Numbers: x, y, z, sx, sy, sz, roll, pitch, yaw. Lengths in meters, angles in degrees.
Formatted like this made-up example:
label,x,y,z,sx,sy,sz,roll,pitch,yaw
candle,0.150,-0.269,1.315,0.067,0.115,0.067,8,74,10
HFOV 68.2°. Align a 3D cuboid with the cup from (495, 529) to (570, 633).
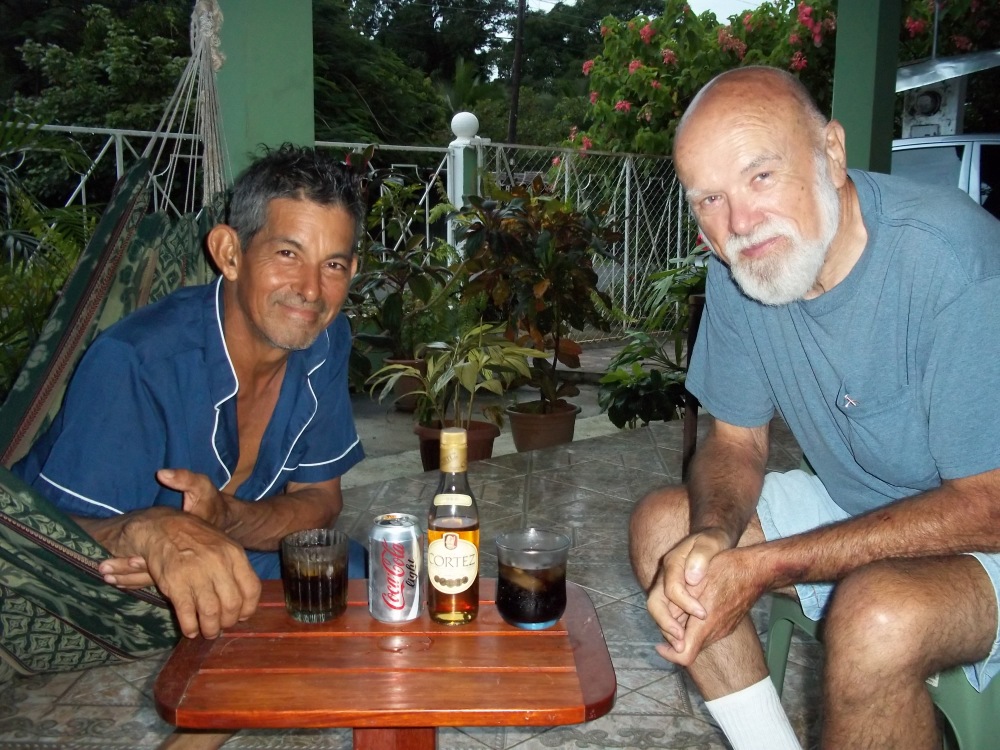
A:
label,x,y,z,sx,sy,sz,roll,pitch,yaw
cup,0.063,0.389,1.409,0.151,0.158,0.145,0,3,0
